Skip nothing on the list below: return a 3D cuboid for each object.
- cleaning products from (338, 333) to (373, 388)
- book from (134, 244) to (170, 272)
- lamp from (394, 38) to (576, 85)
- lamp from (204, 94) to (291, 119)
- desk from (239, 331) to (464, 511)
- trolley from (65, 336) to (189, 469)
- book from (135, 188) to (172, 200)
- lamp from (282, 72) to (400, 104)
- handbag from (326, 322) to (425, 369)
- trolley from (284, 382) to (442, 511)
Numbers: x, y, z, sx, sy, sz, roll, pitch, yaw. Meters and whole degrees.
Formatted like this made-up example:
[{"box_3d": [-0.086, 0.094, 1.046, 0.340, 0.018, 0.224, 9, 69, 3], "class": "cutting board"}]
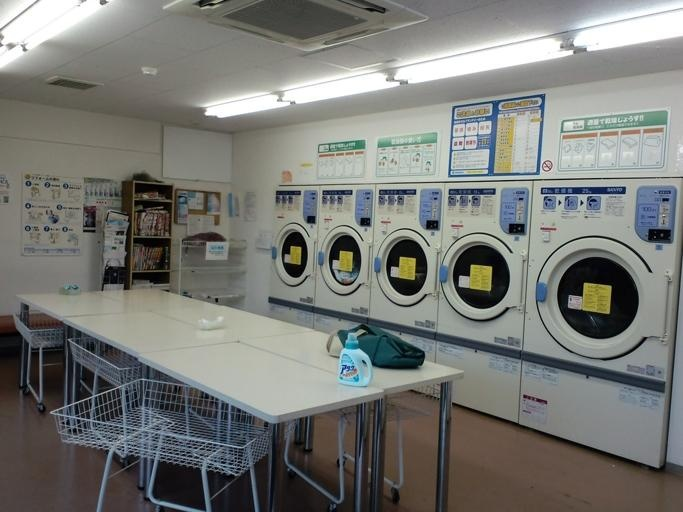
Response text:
[{"box_3d": [0.082, 0.583, 2.649, 0.219, 0.306, 0.097, 4, 8, 29], "class": "cleaning products"}, {"box_3d": [-2.604, 0.026, 6.502, 0.299, 0.410, 0.536, -2, -2, 41], "class": "book"}, {"box_3d": [1.046, -1.509, 3.689, 1.379, 0.121, 0.282, 7, 8, 40], "class": "lamp"}, {"box_3d": [-1.084, -1.705, 5.395, 1.322, 0.123, 0.311, 8, 9, 43], "class": "lamp"}, {"box_3d": [0.022, 0.839, 2.845, 1.119, 0.739, 1.120, 4, -3, -41], "class": "desk"}, {"box_3d": [-1.795, 0.904, 3.727, 0.975, 0.469, 0.625, 22, 19, 40], "class": "trolley"}, {"box_3d": [-2.604, -0.827, 6.577, 0.464, 0.134, 0.401, 0, 7, -23], "class": "book"}, {"box_3d": [-0.049, -1.614, 4.578, 1.382, 0.129, 0.266, 7, 8, 39], "class": "lamp"}, {"box_3d": [0.234, 0.580, 3.072, 0.457, 0.180, 0.324, 8, 7, 43], "class": "handbag"}, {"box_3d": [0.111, 1.333, 3.262, 0.826, 0.792, 1.003, 0, 0, -26], "class": "trolley"}]
